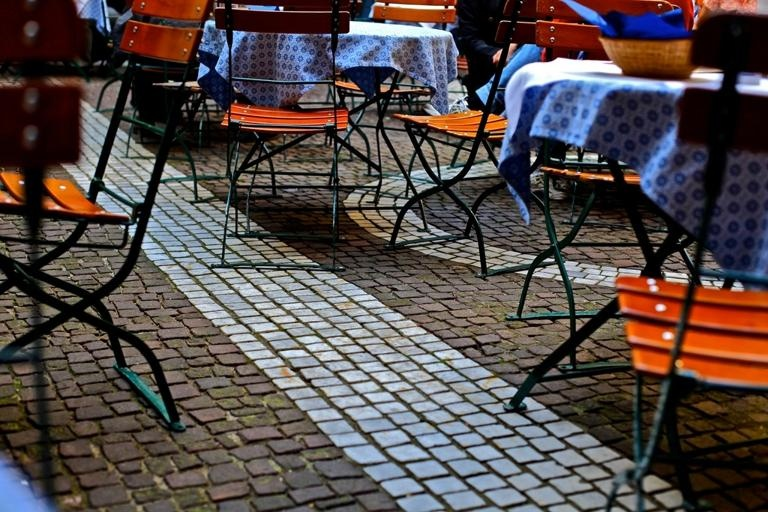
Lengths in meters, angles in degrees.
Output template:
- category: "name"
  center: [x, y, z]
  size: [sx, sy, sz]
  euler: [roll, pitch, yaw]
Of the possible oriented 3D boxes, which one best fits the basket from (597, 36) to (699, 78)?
- category: "basket"
  center: [1.061, -0.796, 2.881]
  size: [0.528, 0.106, 0.420]
  euler: [3, 7, 18]
